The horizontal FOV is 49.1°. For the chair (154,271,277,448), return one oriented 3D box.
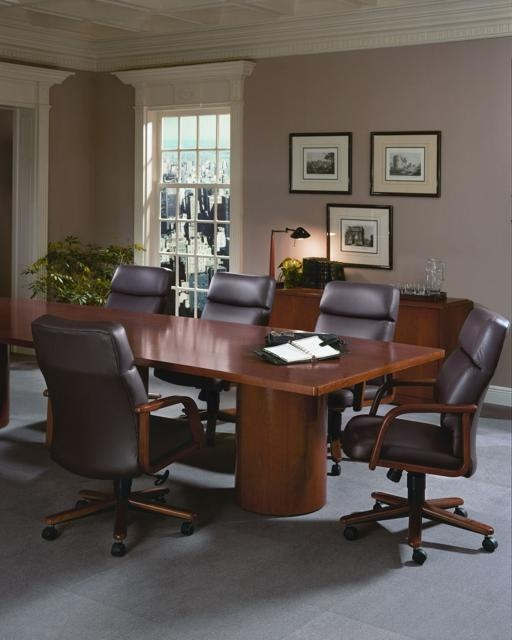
[{"bbox_3d":[-0.283,0.207,3.600,0.692,0.992,0.652,-5,12,-43],"label":"chair"}]

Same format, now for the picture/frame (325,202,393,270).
[{"bbox_3d":[0.939,-0.752,4.984,0.617,0.535,0.044,4,9,35],"label":"picture/frame"}]

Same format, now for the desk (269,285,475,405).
[{"bbox_3d":[0.900,0.166,4.936,1.748,0.986,0.561,7,26,36],"label":"desk"}]

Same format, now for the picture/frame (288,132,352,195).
[{"bbox_3d":[0.609,-1.446,5.143,0.625,0.540,0.045,4,8,35],"label":"picture/frame"}]

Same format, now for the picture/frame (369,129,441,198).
[{"bbox_3d":[1.265,-1.316,4.678,0.633,0.550,0.042,3,5,37],"label":"picture/frame"}]

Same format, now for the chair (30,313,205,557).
[{"bbox_3d":[-0.572,0.429,2.116,0.592,0.885,0.613,2,1,21],"label":"chair"}]

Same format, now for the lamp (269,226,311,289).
[{"bbox_3d":[0.300,-0.612,5.307,0.469,0.559,0.356,1,1,18],"label":"lamp"}]
